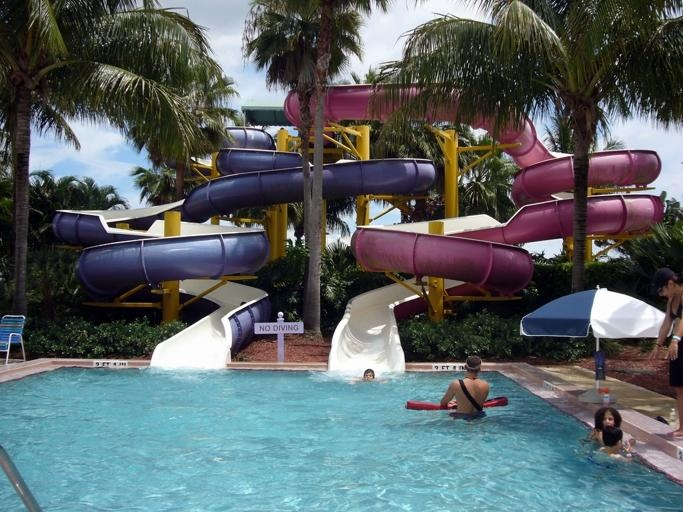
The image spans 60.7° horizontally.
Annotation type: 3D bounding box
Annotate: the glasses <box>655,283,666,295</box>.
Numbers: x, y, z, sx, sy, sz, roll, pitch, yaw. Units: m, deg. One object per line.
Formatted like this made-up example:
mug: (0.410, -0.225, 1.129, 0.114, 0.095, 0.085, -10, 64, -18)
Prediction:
glasses: (3.927, 0.405, 7.208, 0.094, 0.131, 0.128, 6, 26, 11)

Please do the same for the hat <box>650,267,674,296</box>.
hat: (3.941, 0.296, 7.245, 0.183, 0.330, 0.230, 42, 6, -8)

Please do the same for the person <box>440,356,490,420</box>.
person: (1.904, 2.079, 9.084, 0.670, 1.352, 0.497, 6, 26, 5)

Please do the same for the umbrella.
umbrella: (3.642, 1.122, 8.581, 1.177, 1.039, 1.239, 0, -5, 1)

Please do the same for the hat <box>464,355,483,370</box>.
hat: (1.850, 1.497, 8.190, 0.171, 0.231, 0.289, 1, 5, 20)

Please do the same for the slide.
slide: (-0.190, -0.597, 15.802, 15.056, 6.323, 8.812, 0, -3, -7)
